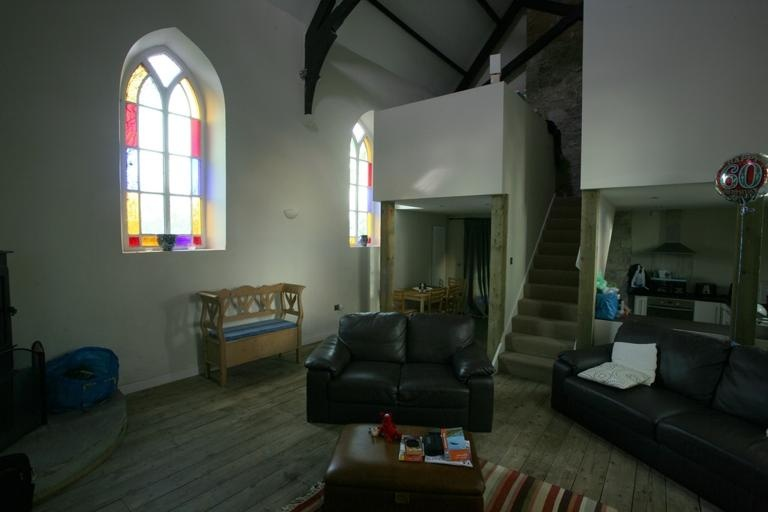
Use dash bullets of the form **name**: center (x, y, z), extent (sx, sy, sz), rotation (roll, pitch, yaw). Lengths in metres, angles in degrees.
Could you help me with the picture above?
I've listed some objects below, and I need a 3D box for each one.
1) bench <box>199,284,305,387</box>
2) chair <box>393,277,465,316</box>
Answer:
- **bench**: center (-2.007, 1.192, 8.208), extent (0.454, 1.043, 1.317), rotation (4, 7, 38)
- **chair**: center (0.962, 0.917, 11.414), extent (1.026, 0.769, 2.194), rotation (-2, 3, 25)
